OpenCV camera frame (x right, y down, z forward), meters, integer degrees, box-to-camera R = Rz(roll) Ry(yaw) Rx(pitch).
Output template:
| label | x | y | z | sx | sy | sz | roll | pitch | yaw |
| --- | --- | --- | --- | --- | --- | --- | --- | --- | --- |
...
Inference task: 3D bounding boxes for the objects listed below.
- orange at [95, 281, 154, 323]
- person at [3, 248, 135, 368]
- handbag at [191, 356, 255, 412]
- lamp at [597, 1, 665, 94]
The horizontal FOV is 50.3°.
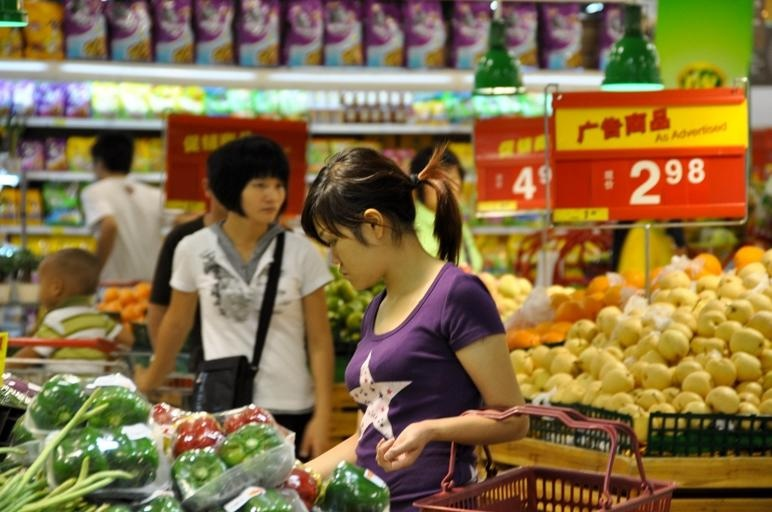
| label | x | y | z | sx | sy | sz | roll | pitch | yaw |
| --- | --- | --- | --- | --- | --- | --- | --- | --- | --- |
| orange | -1.486 | 0.216 | 4.681 | 0.252 | 0.111 | 0.252 | -19 | 37 | -35 |
| person | -1.612 | 0.227 | 4.419 | 0.688 | 0.789 | 0.481 | -1 | 3 | -39 |
| handbag | -0.706 | 0.567 | 3.609 | 0.222 | 0.240 | 0.083 | 0 | -7 | 20 |
| lamp | 1.592 | -1.353 | 5.284 | 0.283 | 0.598 | 0.329 | 0 | -1 | -11 |
